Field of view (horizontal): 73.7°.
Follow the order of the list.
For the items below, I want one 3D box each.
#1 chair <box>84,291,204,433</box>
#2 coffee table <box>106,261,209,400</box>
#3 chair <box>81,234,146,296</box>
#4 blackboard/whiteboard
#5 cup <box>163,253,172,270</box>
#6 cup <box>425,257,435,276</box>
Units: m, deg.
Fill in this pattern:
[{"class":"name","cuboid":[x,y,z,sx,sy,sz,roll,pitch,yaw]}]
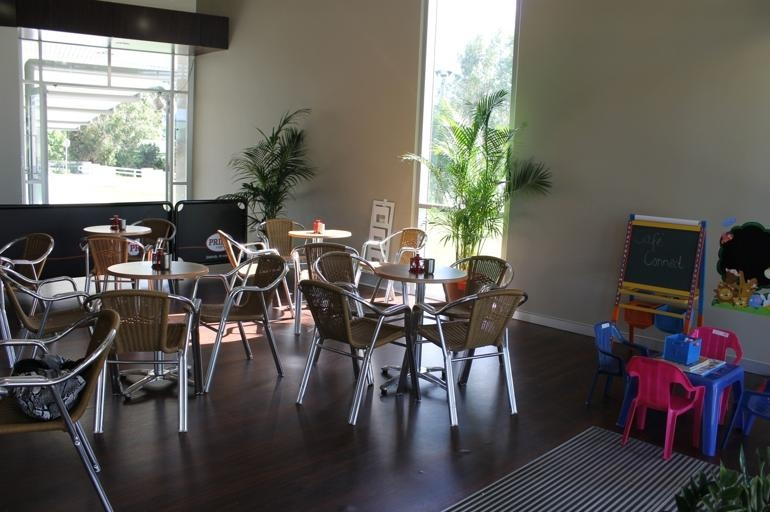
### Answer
[{"class":"chair","cuboid":[-1.847,0.847,3.940,0.760,1.112,0.818,2,20,-5]},{"class":"coffee table","cuboid":[-1.857,0.718,4.074,0.774,1.084,0.843,3,9,-1]},{"class":"chair","cuboid":[-3.076,0.065,5.807,0.597,0.795,0.587,-1,25,-17]},{"class":"blackboard/whiteboard","cuboid":[3.034,0.011,5.582,0.705,0.730,0.124,13,7,37]},{"class":"cup","cuboid":[-1.994,0.041,4.685,0.076,0.145,0.167,-4,14,-23]},{"class":"cup","cuboid":[0.414,0.099,4.776,0.105,0.134,0.228,3,13,4]}]
